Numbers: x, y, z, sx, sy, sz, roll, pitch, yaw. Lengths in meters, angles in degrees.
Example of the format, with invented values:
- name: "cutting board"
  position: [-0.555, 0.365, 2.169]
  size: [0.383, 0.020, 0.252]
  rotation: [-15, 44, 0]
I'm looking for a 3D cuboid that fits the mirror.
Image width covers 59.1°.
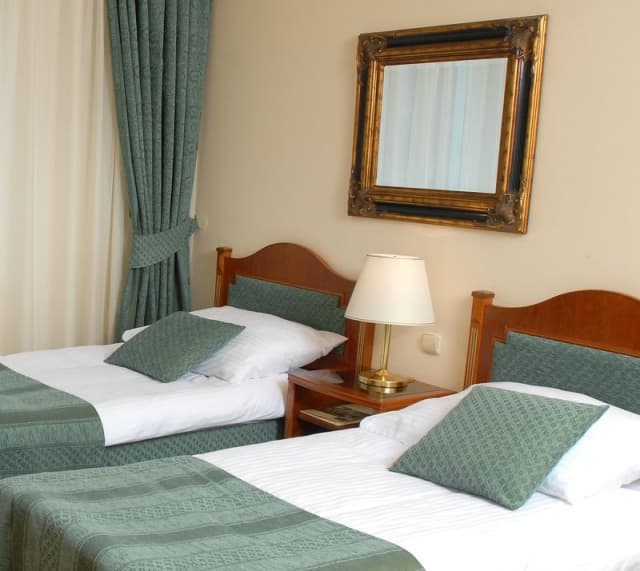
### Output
- name: "mirror"
  position: [0.639, -0.770, 2.682]
  size: [1.280, 1.037, 0.104]
  rotation: [10, 9, 43]

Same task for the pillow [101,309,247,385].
- name: "pillow"
  position: [-0.733, 0.211, 2.789]
  size: [0.457, 0.093, 0.417]
  rotation: [8, 33, 45]
